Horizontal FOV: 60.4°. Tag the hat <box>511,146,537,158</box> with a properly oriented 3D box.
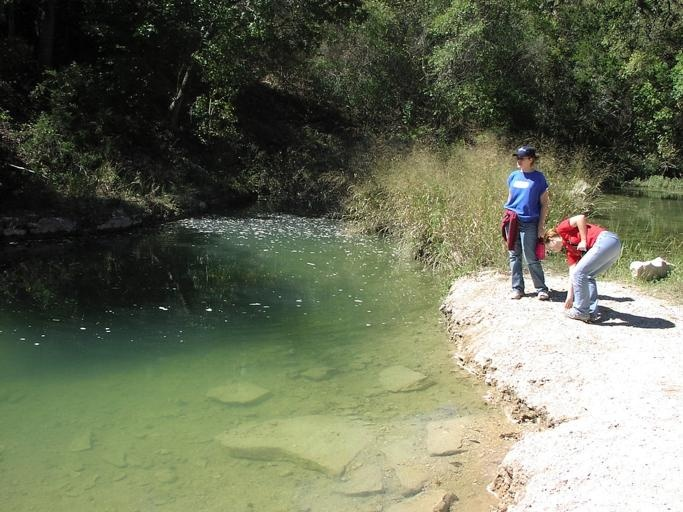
[{"bbox_3d":[2.613,-1.459,8.355,0.299,0.161,0.209,2,3,-18],"label":"hat"}]

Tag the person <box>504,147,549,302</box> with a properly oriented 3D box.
[{"bbox_3d":[2.703,-0.269,8.583,0.622,1.904,0.396,-2,9,18],"label":"person"}]

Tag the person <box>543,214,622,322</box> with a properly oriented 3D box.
[{"bbox_3d":[3.271,0.180,7.945,0.430,1.448,0.852,-13,12,-43],"label":"person"}]

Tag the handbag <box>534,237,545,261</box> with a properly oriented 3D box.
[{"bbox_3d":[2.903,-0.086,8.485,0.078,0.265,0.180,7,-6,-18],"label":"handbag"}]

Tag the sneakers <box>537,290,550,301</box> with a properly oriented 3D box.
[{"bbox_3d":[2.990,0.595,8.697,0.121,0.068,0.166,1,9,1],"label":"sneakers"}]
